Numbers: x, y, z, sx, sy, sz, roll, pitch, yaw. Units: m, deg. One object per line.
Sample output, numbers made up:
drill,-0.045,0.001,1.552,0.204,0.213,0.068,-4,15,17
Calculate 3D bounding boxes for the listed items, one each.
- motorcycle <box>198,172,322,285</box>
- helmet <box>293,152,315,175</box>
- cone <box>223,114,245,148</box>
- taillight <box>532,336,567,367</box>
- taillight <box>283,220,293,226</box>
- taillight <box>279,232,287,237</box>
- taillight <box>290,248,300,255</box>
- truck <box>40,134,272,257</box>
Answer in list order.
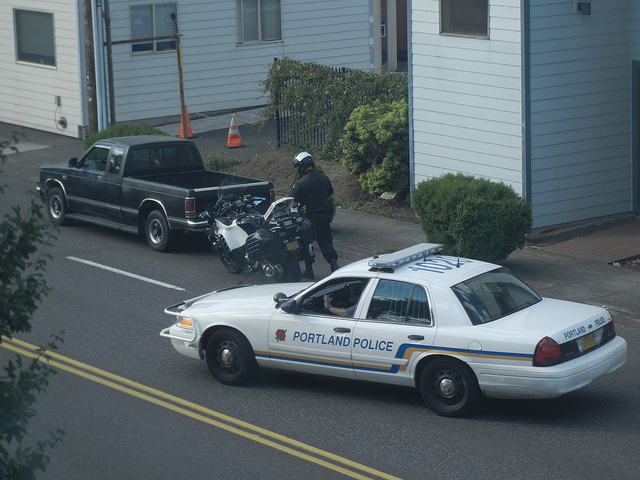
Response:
motorcycle,-0.993,-0.244,17.170,1.237,1.862,2.953,-17,25,-31
helmet,-0.287,-1.380,17.158,0.325,0.403,0.631,-2,13,0
cone,-2.291,-3.060,26.788,0.771,1.138,0.755,-3,18,-11
taillight,2.716,1.321,11.284,0.241,0.263,0.397,-3,10,3
taillight,-0.546,-0.295,16.326,0.198,0.082,0.047,-13,16,-39
taillight,-0.644,-0.098,16.269,0.090,0.065,0.021,-8,14,-16
taillight,-0.439,0.199,16.401,0.124,0.089,0.036,-11,24,-29
truck,-3.541,-0.760,19.559,4.405,1.824,2.479,14,17,39
